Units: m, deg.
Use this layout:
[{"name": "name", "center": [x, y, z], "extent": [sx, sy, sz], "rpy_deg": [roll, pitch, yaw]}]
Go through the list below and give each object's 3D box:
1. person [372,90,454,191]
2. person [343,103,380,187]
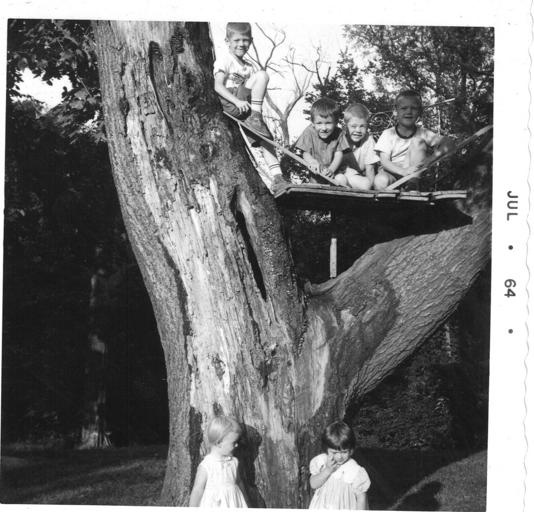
[{"name": "person", "center": [1.278, -1.038, 7.778], "extent": [0.782, 1.164, 0.816], "rpy_deg": [5, 8, 0]}, {"name": "person", "center": [0.879, -1.034, 7.698], "extent": [0.245, 0.907, 0.322], "rpy_deg": [-3, -10, 3]}]
